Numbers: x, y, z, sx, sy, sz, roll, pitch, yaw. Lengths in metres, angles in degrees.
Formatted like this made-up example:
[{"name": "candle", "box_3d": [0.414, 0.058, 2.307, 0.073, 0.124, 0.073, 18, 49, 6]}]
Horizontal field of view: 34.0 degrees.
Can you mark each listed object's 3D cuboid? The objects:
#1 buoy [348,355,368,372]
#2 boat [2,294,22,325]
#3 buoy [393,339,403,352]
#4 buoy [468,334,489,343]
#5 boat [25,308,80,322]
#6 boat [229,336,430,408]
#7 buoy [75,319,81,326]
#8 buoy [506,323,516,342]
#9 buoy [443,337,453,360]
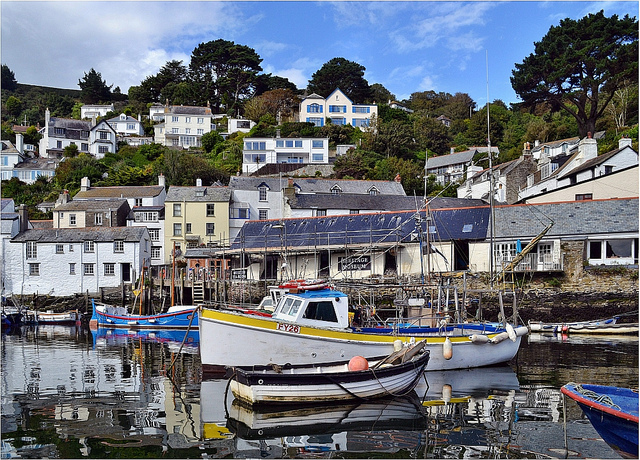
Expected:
[{"name": "buoy", "box_3d": [2.361, 8.410, 66.156, 0.943, 1.023, 0.928, -14, 2, -31]}, {"name": "boat", "box_3d": [-25.677, 6.598, 86.975, 1.465, 2.448, 5.338, 0, -5, -17]}, {"name": "buoy", "box_3d": [5.001, 7.415, 67.679, 0.569, 0.782, 0.749, -2, -5, 3]}, {"name": "buoy", "box_3d": [10.477, 7.141, 69.226, 1.081, 0.493, 0.373, 3, 17, -9]}, {"name": "boat", "box_3d": [-22.052, 7.049, 87.259, 3.767, 1.058, 2.953, -1, -5, -7]}, {"name": "boat", "box_3d": [-0.098, 9.624, 67.125, 12.887, 3.853, 4.004, 1, -17, -11]}, {"name": "buoy", "box_3d": [-19.927, 7.541, 85.904, 0.385, 0.514, 0.726, -1, -5, -8]}, {"name": "buoy", "box_3d": [12.688, 6.769, 69.796, 0.658, 0.933, 0.227, -27, 7, -28]}, {"name": "buoy", "box_3d": [8.303, 7.699, 68.677, 0.592, 1.389, 0.706, -2, -5, 6]}]
